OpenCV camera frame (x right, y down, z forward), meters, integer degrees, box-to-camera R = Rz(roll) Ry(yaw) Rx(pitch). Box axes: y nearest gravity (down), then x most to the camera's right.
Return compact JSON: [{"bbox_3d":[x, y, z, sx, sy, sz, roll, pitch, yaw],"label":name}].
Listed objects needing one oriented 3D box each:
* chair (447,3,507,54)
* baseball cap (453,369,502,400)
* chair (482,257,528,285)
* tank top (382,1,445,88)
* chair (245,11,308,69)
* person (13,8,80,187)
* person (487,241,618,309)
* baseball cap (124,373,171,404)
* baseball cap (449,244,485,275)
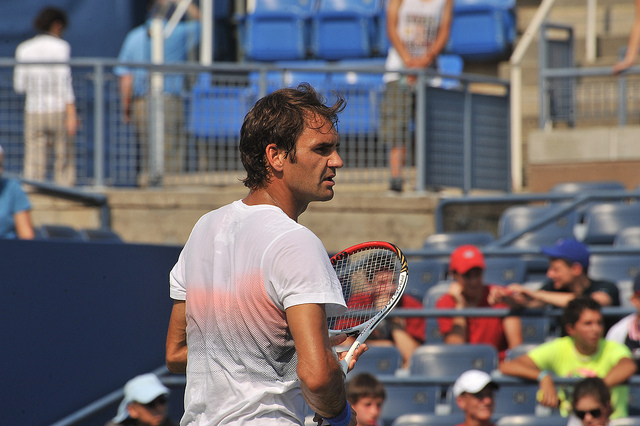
[{"bbox_3d":[2.036,-2.437,24.300,1.119,0.571,0.625,0,-23,15],"label":"chair"},{"bbox_3d":[1.609,1.759,19.358,0.290,0.196,0.390,-3,-26,-49],"label":"baseball cap"},{"bbox_3d":[2.114,0.634,21.130,0.549,0.317,0.281,1,-9,-14],"label":"chair"},{"bbox_3d":[1.138,-2.148,22.951,0.779,0.824,1.112,-2,0,3],"label":"tank top"},{"bbox_3d":[-0.650,-2.514,26.355,1.251,1.138,0.984,1,5,6],"label":"chair"},{"bbox_3d":[-3.191,-1.345,21.178,0.636,1.762,1.090,-2,1,17],"label":"person"},{"bbox_3d":[2.441,0.664,19.827,1.121,0.572,0.769,0,-7,0],"label":"person"},{"bbox_3d":[-1.892,1.858,19.980,0.478,0.259,0.391,-2,0,-6],"label":"baseball cap"},{"bbox_3d":[1.602,0.480,20.426,0.377,0.244,0.313,-2,0,-10],"label":"baseball cap"}]
